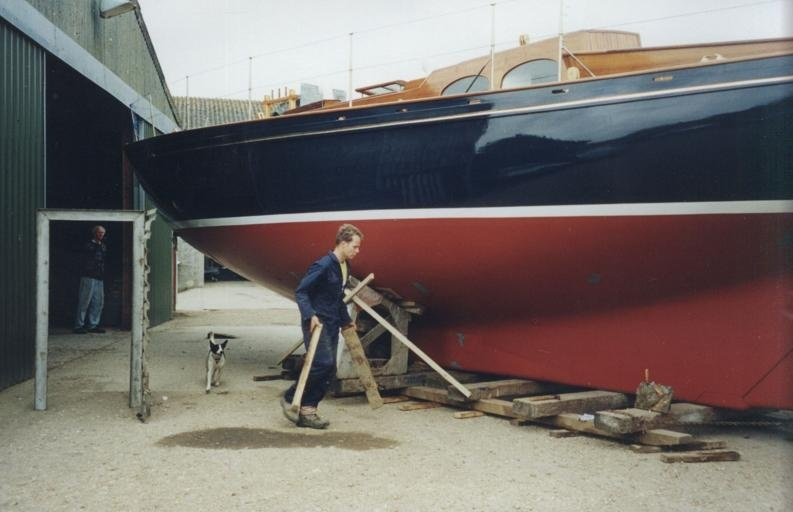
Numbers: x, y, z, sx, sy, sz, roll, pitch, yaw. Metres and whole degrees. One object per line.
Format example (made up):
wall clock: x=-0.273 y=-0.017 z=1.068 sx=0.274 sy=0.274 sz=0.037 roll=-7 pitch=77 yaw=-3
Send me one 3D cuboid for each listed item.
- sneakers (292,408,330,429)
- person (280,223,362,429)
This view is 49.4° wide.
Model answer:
sneakers: x=-0.861 y=1.660 z=8.766 sx=0.412 sy=0.189 sz=0.142 roll=1 pitch=2 yaw=6
person: x=-0.760 y=0.713 z=8.771 sx=0.846 sy=2.043 sz=0.441 roll=-5 pitch=5 yaw=-27
